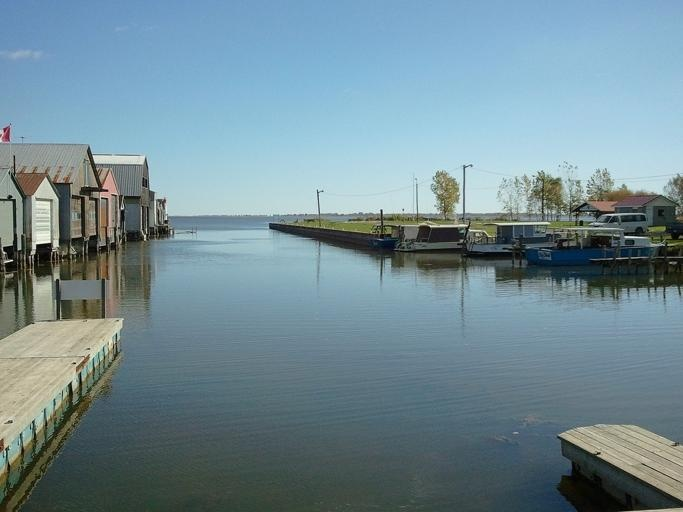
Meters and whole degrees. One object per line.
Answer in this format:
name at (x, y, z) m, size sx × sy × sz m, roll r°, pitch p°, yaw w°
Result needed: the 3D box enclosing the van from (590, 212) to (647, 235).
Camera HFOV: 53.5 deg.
van at (19.096, -2.266, 45.784) m, size 4.381 × 1.806 × 2.678 m, roll 1°, pitch 1°, yaw 15°
